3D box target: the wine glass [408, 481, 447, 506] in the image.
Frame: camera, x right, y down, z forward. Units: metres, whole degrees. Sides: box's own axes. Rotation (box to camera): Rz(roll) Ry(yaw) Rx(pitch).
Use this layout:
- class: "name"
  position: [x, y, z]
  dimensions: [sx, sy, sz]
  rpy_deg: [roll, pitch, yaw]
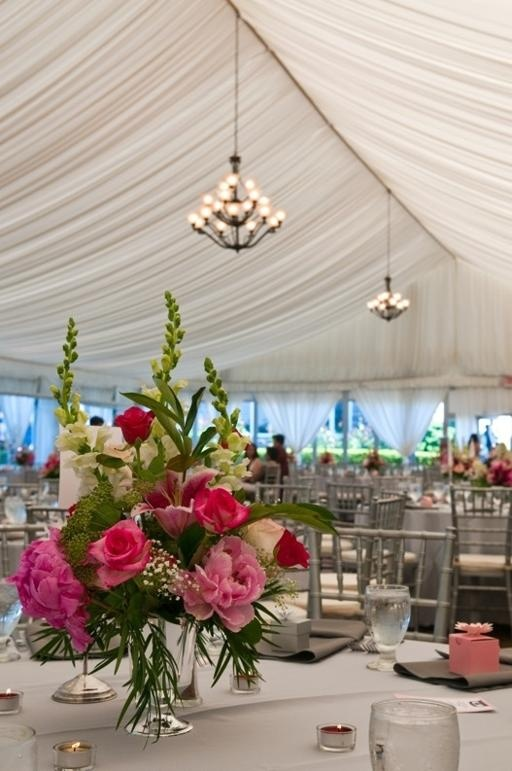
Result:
- class: "wine glass"
  position: [1.676, 1.060, 6.226]
  dimensions: [0.366, 0.254, 0.346]
  rpy_deg: [-1, -3, 1]

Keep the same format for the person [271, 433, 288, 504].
- class: "person"
  position: [0.330, 1.146, 9.212]
  dimensions: [0.292, 0.899, 0.283]
  rpy_deg: [1, 10, 11]

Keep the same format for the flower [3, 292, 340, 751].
- class: "flower"
  position: [-0.107, 0.216, 1.055]
  dimensions: [0.538, 0.605, 0.502]
  rpy_deg: [13, -18, -35]
